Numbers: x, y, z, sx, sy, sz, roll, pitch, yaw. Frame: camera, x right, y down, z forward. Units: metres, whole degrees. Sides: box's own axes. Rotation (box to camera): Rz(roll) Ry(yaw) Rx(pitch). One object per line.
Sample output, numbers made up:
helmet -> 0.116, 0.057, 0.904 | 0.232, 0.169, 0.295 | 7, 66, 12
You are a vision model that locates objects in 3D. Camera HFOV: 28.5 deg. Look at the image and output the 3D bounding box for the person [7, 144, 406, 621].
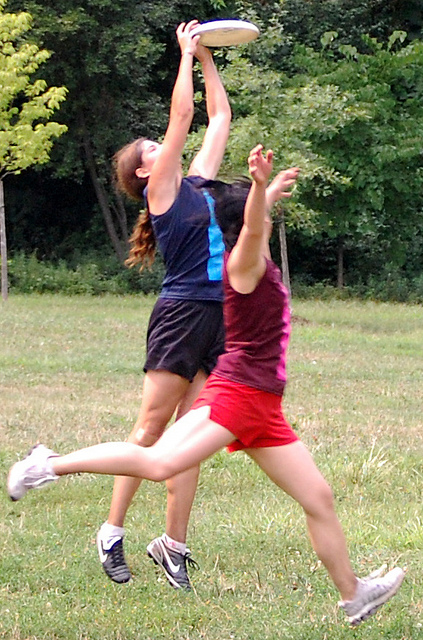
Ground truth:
person -> 0.045, 0.268, 3.054 | 1.345, 1.729, 0.543 | 3, 7, 13
